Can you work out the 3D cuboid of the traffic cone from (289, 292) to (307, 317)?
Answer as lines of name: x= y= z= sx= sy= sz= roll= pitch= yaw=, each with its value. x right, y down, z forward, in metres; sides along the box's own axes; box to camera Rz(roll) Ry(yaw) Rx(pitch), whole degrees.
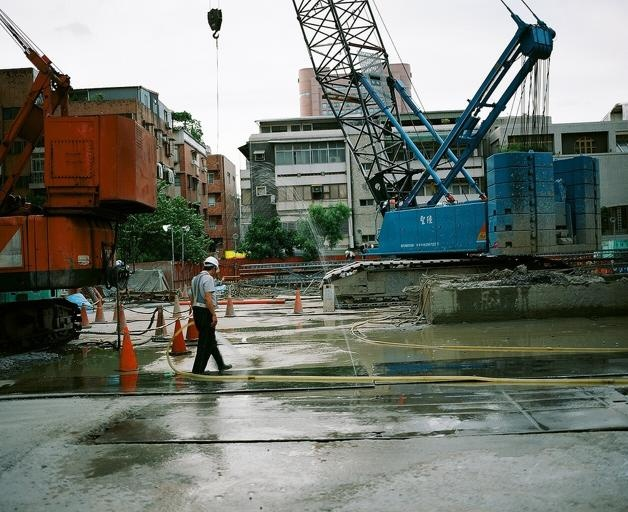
traffic cone: x=-0.405 y=1.343 z=20.515 sx=0.598 sy=0.806 sz=0.594 roll=2 pitch=-4 yaw=-30

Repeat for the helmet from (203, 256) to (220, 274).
helmet: x=-1.620 y=0.165 z=11.159 sx=0.268 sy=0.267 sz=0.344 roll=3 pitch=9 yaw=10

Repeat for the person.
person: x=-1.648 y=0.888 z=11.105 sx=0.560 sy=1.312 sz=1.005 roll=-3 pitch=-1 yaw=-8
